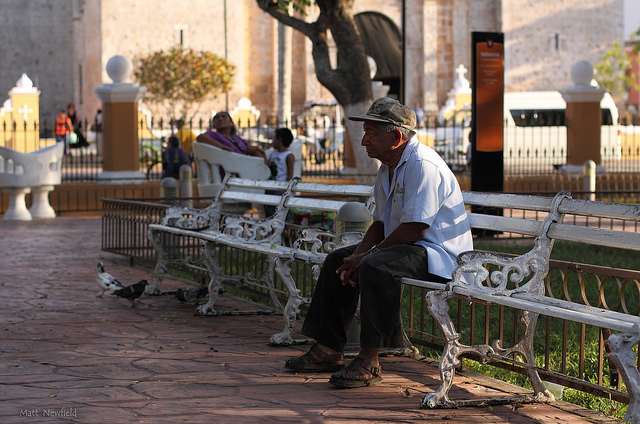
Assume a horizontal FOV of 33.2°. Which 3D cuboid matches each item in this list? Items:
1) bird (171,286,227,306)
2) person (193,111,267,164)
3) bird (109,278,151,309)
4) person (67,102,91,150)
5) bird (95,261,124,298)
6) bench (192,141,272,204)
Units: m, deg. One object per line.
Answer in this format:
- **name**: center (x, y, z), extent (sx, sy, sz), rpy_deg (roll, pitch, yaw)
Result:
- **bird**: center (-1.798, 1.274, 16.084), extent (0.467, 0.215, 0.148), rpy_deg (-20, 5, -3)
- **person**: center (-1.464, -1.308, 19.615), extent (0.814, 0.762, 1.164), rpy_deg (10, -10, 45)
- **bird**: center (-2.813, 1.189, 16.044), extent (0.540, 0.474, 0.244), rpy_deg (5, 17, 0)
- **person**: center (-8.031, -2.690, 35.195), extent (0.666, 1.608, 0.970), rpy_deg (-9, -13, -6)
- **bird**: center (-3.191, 1.059, 16.245), extent (0.608, 0.526, 0.211), rpy_deg (7, -11, 16)
- **bench**: center (-1.609, -0.744, 19.396), extent (1.176, 0.999, 1.121), rpy_deg (-1, 1, 0)
